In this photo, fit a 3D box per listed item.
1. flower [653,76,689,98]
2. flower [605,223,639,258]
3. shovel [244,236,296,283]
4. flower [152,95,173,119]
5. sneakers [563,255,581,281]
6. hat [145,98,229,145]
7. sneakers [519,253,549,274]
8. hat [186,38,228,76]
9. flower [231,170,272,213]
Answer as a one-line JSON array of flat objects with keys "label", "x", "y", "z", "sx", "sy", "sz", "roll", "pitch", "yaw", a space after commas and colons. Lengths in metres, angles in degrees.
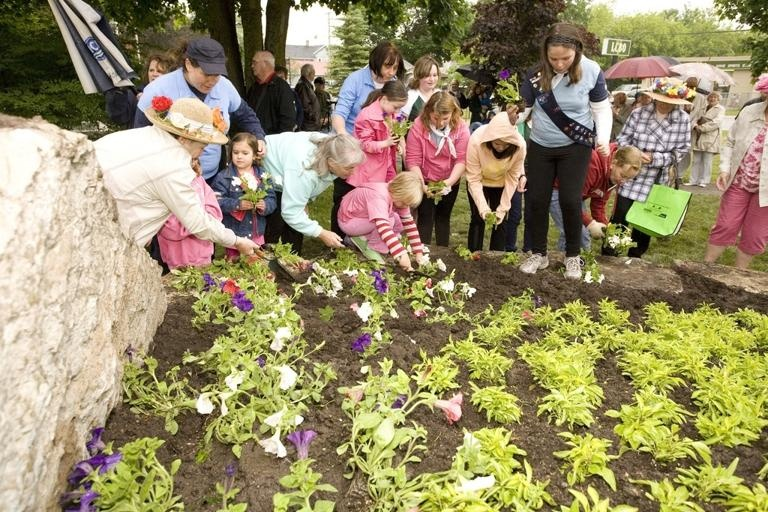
[{"label": "flower", "x": 3.257, "y": -1.900, "z": 6.259, "sx": 0.316, "sy": 0.124, "sz": 0.320, "roll": 6, "pitch": 27, "yaw": 1}, {"label": "flower", "x": 2.598, "y": -0.114, "z": 5.903, "sx": 0.266, "sy": 0.431, "sz": 0.451, "roll": 3, "pitch": 14, "yaw": 9}, {"label": "shovel", "x": -1.036, "y": 0.041, "z": 5.013, "sx": 0.568, "sy": 0.163, "sz": 0.131, "roll": 34, "pitch": 60, "yaw": 23}, {"label": "flower", "x": -1.679, "y": -1.140, "z": 4.146, "sx": 0.147, "sy": 0.155, "sz": 0.210, "roll": -11, "pitch": 31, "yaw": -22}, {"label": "sneakers", "x": 1.856, "y": 0.124, "z": 5.391, "sx": 0.110, "sy": 0.113, "sz": 0.274, "roll": -2, "pitch": 33, "yaw": 12}, {"label": "hat", "x": -1.511, "y": -1.029, "z": 4.201, "sx": 0.554, "sy": 0.389, "sz": 0.328, "roll": -10, "pitch": 31, "yaw": -20}, {"label": "sneakers", "x": 1.505, "y": 0.086, "z": 5.476, "sx": 0.368, "sy": 0.157, "sz": 0.139, "roll": -11, "pitch": 38, "yaw": -31}, {"label": "hat", "x": -1.557, "y": -1.755, "z": 4.797, "sx": 0.315, "sy": 0.303, "sz": 0.265, "roll": -8, "pitch": 30, "yaw": -16}, {"label": "flower", "x": -1.271, "y": -0.595, "z": 5.299, "sx": 0.401, "sy": 0.366, "sz": 0.396, "roll": -8, "pitch": 6, "yaw": -18}]
